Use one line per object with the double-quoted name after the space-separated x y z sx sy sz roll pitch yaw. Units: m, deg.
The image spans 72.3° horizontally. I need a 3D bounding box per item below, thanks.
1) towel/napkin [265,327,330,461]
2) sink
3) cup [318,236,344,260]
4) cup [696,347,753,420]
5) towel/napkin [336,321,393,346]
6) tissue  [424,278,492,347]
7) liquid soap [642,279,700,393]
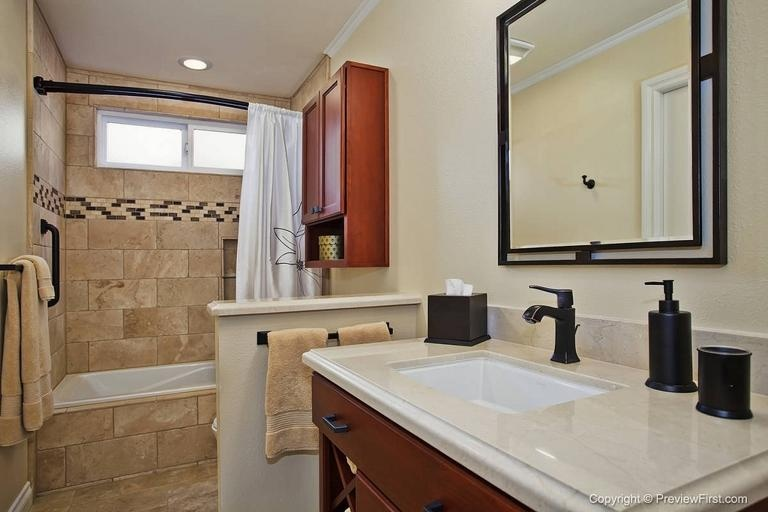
-0.440 0.653 2.524 0.235 0.559 0.278 6 -3 -17 "towel/napkin"
0.474 0.463 2.058 0.641 0.204 0.897 1 -2 -27 "sink"
-0.336 -0.046 3.366 0.156 0.144 0.156 0 -2 0 "cup"
1.021 0.379 1.603 0.122 0.208 0.148 3 -4 -37 "cup"
-0.101 0.372 2.559 0.262 0.082 0.160 -2 2 -25 "towel/napkin"
0.310 0.226 2.305 0.278 0.329 0.274 -1 -1 45 "tissue "
0.968 0.269 1.780 0.174 0.369 0.151 4 -4 -10 "liquid soap"
